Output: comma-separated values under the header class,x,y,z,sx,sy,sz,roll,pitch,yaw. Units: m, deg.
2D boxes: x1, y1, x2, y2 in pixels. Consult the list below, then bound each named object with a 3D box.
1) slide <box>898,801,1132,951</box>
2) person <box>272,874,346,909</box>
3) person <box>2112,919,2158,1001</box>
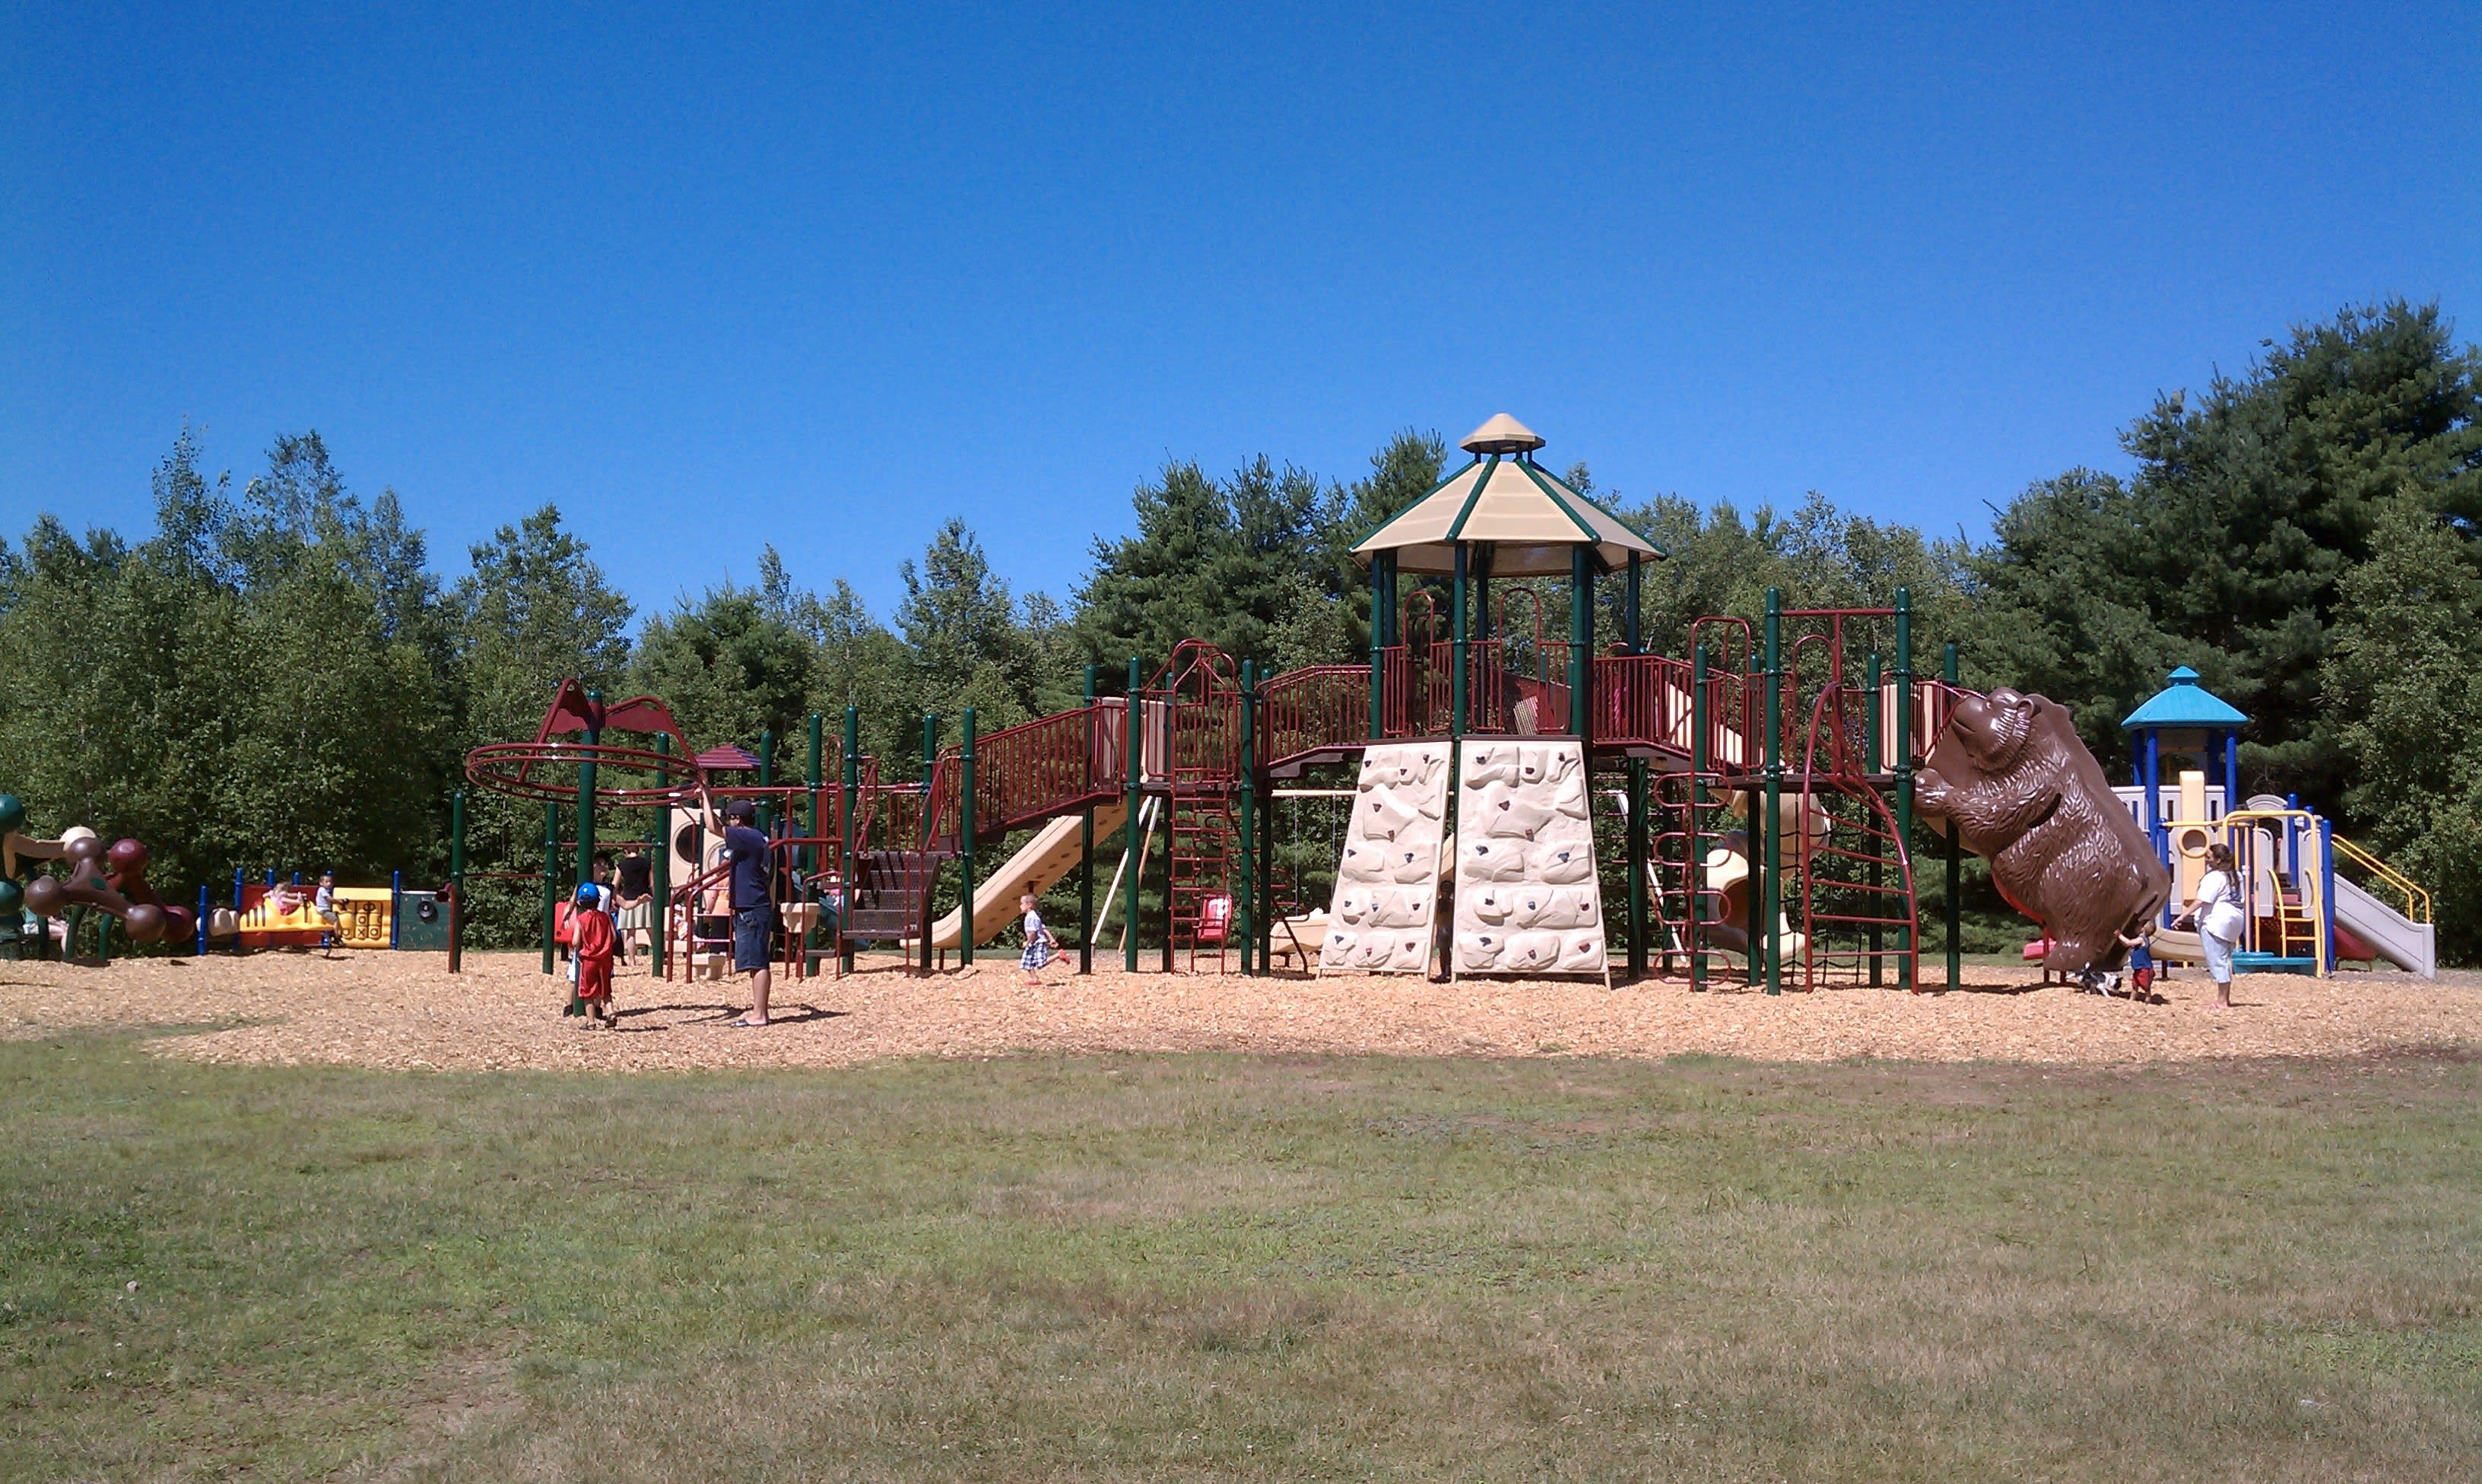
class,x,y,z,sx,sy,sz,roll,pitch,yaw
slide,-3.458,2.168,34.574,2.100,3.017,5.712,-4,7,-20
person,-17.362,2.816,39.659,1.160,0.582,1.460,-3,7,-17
person,11.218,2.770,27.112,0.443,0.899,2.361,2,7,22
